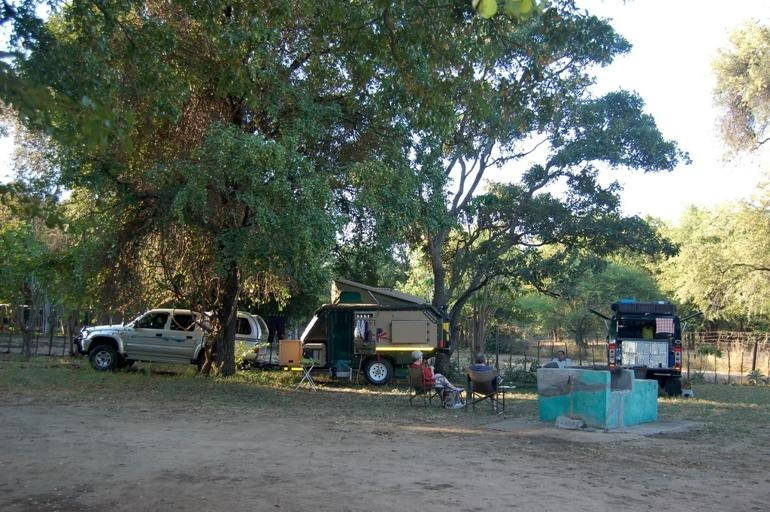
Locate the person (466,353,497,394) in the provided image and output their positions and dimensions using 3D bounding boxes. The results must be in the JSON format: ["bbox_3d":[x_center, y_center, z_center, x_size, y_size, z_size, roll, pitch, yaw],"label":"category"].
[{"bbox_3d":[2.734,3.299,20.388,0.831,1.091,0.801,2,-9,6],"label":"person"}]

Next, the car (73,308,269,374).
[{"bbox_3d":[-7.572,2.920,25.445,5.850,2.423,2.162,9,-11,-25],"label":"car"}]

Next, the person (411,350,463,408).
[{"bbox_3d":[1.452,3.545,20.826,1.504,1.532,0.763,3,-9,0],"label":"person"}]

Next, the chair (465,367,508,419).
[{"bbox_3d":[2.837,3.760,20.778,0.950,1.400,1.184,-2,3,7],"label":"chair"}]

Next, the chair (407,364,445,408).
[{"bbox_3d":[1.199,3.695,21.076,0.988,1.289,1.059,-3,3,30],"label":"chair"}]

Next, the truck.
[{"bbox_3d":[9.724,3.245,27.436,2.605,3.055,4.602,1,-4,11],"label":"truck"}]
